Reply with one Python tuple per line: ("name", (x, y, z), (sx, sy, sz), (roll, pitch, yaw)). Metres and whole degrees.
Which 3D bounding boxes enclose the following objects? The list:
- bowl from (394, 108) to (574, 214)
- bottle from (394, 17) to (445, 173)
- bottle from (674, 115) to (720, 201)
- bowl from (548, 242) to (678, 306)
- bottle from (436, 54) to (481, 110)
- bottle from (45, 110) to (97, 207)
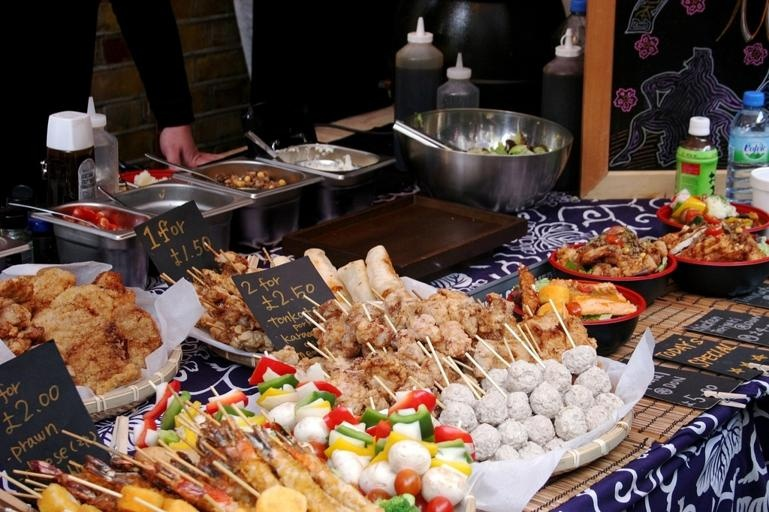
("bowl", (0.538, -0.515, 3.268), (0.875, 0.510, 0.666), (1, 18, 15))
("bottle", (0.179, -0.900, 3.678), (0.281, 0.976, 0.257), (-1, 23, 0))
("bottle", (1.589, -0.498, 3.121), (0.195, 0.405, 0.280), (5, 20, 27))
("bowl", (0.899, 0.077, 2.474), (0.327, 0.108, 0.308), (-2, 24, 1))
("bottle", (0.423, -1.028, 3.616), (0.226, 0.355, 0.203), (-22, 28, -40))
("bottle", (-1.397, -0.411, 2.753), (0.228, 0.466, 0.171), (-8, 15, -28))
